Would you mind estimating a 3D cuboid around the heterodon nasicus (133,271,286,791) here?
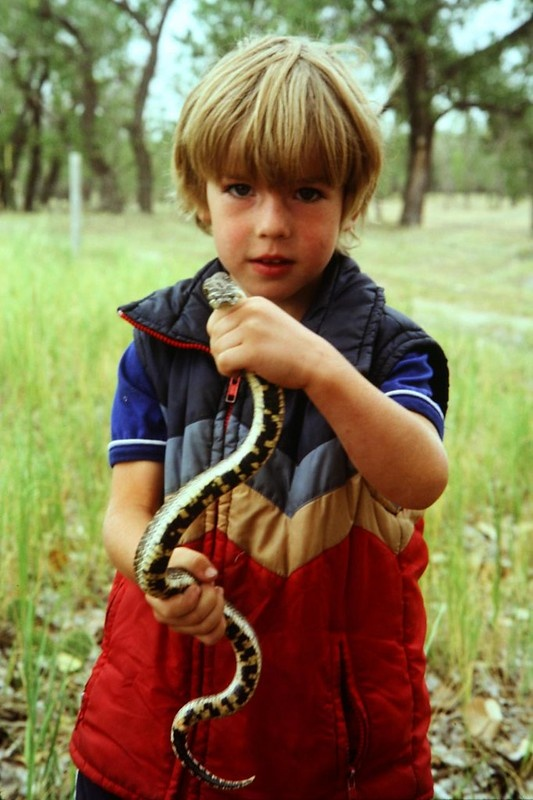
[{"bbox_3d":[-0.101,0.254,1.346,0.277,0.980,0.195,-1,5,-13],"label":"heterodon nasicus"}]
